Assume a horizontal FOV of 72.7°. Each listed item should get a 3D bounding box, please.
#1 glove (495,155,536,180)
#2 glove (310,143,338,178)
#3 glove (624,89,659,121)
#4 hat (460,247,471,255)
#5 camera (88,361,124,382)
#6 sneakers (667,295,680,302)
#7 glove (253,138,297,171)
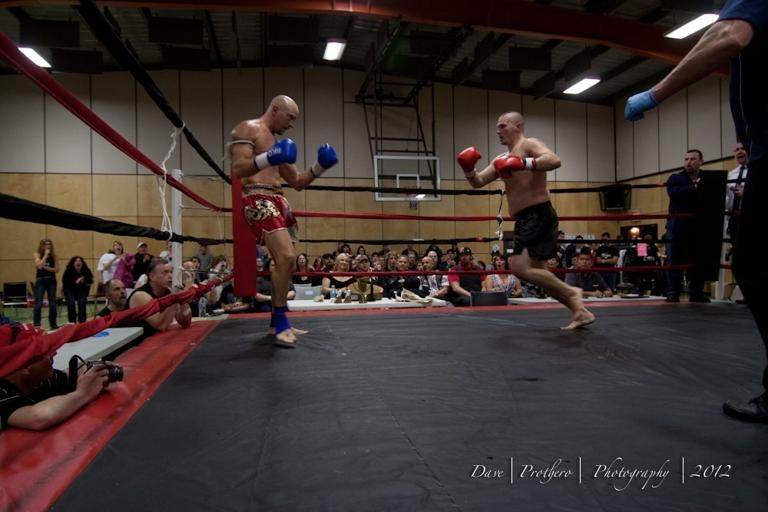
[{"bbox_3d":[0.835,-0.576,3.352,0.202,0.101,0.149,-9,6,-20],"label":"glove"},{"bbox_3d":[-0.355,-0.595,3.322,0.135,0.212,0.136,-3,7,-13],"label":"glove"},{"bbox_3d":[1.104,-0.645,2.289,0.115,0.070,0.177,-41,15,-13],"label":"glove"},{"bbox_3d":[1.024,-0.060,6.562,0.133,0.071,0.100,0,2,-9],"label":"hat"},{"bbox_3d":[-1.267,0.518,2.387,0.112,0.053,0.106,11,3,-37],"label":"camera"},{"bbox_3d":[2.599,0.387,4.653,0.131,0.057,0.049,-1,-2,5],"label":"sneakers"},{"bbox_3d":[-0.613,-0.581,3.037,0.220,0.105,0.173,-10,30,31],"label":"glove"}]
